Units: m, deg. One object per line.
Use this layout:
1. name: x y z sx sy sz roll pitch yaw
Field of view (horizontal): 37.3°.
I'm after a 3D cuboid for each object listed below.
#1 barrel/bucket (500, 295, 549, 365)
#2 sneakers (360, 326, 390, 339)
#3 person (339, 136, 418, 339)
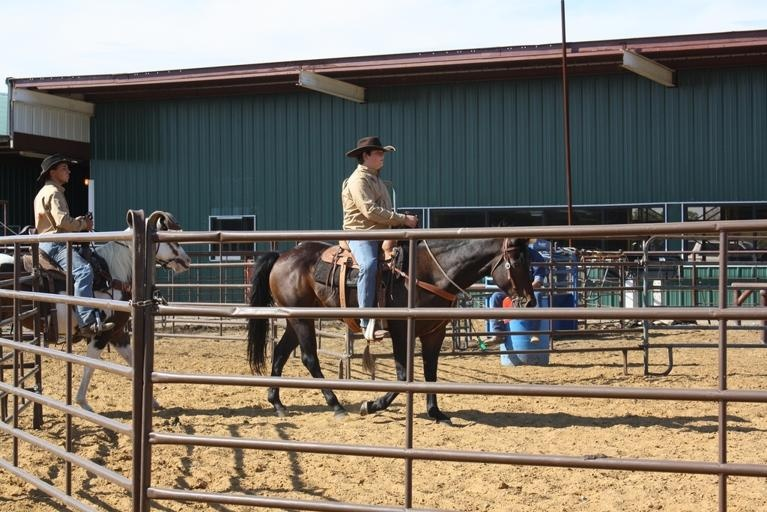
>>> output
1. barrel/bucket: 2.622 1.270 19.467 1.126 1.319 1.150 0 -5 0
2. sneakers: -0.118 1.114 16.526 0.412 0.198 0.143 1 -1 11
3. person: -0.159 -0.258 17.093 0.986 3.086 1.375 0 3 -2
